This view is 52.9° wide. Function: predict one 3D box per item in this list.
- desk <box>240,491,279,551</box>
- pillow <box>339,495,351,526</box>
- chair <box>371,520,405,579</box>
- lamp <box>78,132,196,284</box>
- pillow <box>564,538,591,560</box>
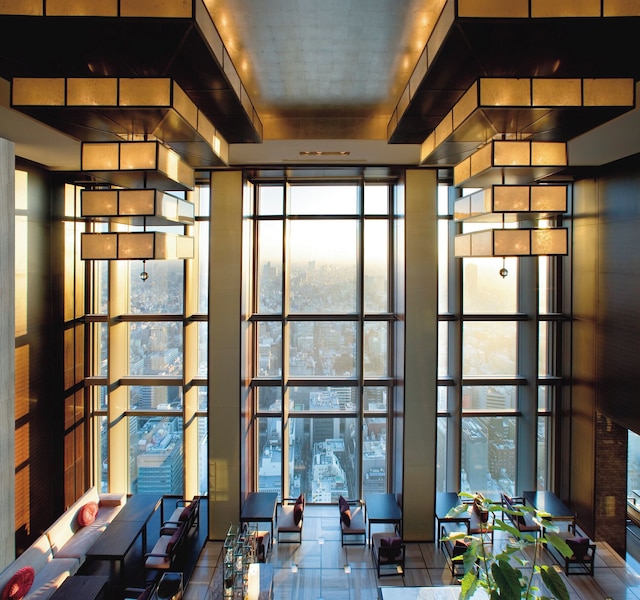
[{"bbox_3d":[-1.060,3.820,11.271,0.632,1.006,1.205,-2,-22,-5],"label":"desk"},{"bbox_3d":[0.453,3.726,11.397,0.194,0.565,0.427,-4,-21,0],"label":"pillow"},{"bbox_3d":[1.124,4.119,10.561,0.362,0.624,0.750,0,1,1],"label":"chair"},{"bbox_3d":[-2.382,-1.144,8.481,1.393,1.685,1.822,1,-22,-14],"label":"lamp"},{"bbox_3d":[4.153,3.969,10.273,0.552,0.361,0.344,10,-25,-33],"label":"pillow"}]
